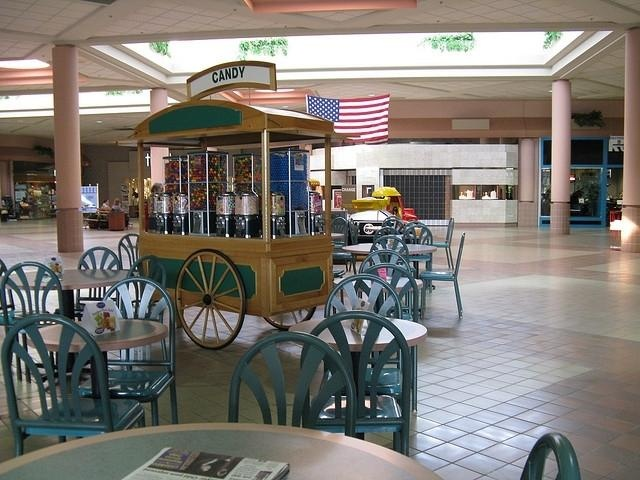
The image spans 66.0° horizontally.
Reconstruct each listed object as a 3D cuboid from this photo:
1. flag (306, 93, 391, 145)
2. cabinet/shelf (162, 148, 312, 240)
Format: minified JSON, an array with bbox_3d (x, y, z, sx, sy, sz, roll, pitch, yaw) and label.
[{"bbox_3d":[0.928,-3.808,15.357,3.053,1.403,0.083,10,21,36],"label":"flag"},{"bbox_3d":[-0.979,-0.533,5.978,1.596,0.750,0.535,0,0,25],"label":"cabinet/shelf"}]
